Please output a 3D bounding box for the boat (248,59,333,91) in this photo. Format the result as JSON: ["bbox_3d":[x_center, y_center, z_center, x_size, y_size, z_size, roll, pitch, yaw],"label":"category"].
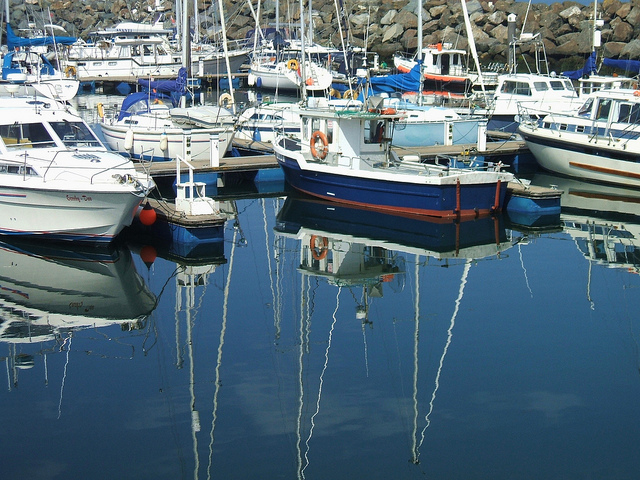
[{"bbox_3d":[-1.351,-7.920,40.969,2.417,1.670,7.168,-1,13,-19],"label":"boat"}]

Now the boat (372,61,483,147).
[{"bbox_3d":[3.262,-3.984,27.386,2.141,1.975,2.224,-18,13,-43],"label":"boat"}]

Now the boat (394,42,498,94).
[{"bbox_3d":[4.994,-7.301,35.325,5.106,1.759,1.449,16,20,37],"label":"boat"}]

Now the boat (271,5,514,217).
[{"bbox_3d":[1.545,-2.314,21.707,6.321,2.913,2.726,13,22,42],"label":"boat"}]

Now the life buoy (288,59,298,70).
[{"bbox_3d":[-1.185,-7.948,38.069,0.640,0.605,0.189,2,10,8],"label":"life buoy"}]

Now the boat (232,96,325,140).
[{"bbox_3d":[-1.569,-3.911,27.483,3.176,1.233,1.719,-4,27,-29],"label":"boat"}]

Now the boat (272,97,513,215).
[{"bbox_3d":[1.083,-2.227,22.418,2.631,2.787,7.415,-13,24,-43],"label":"boat"}]

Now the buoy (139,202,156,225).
[{"bbox_3d":[-3.885,-0.631,19.219,0.386,0.507,0.390,20,26,39],"label":"buoy"}]

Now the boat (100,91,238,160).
[{"bbox_3d":[-4.739,-3.271,25.266,4.878,1.681,1.920,12,16,36],"label":"boat"}]

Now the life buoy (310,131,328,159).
[{"bbox_3d":[-0.028,-2.494,21.909,0.168,0.620,0.629,-3,46,-36],"label":"life buoy"}]

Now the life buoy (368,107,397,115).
[{"bbox_3d":[1.615,-3.245,21.199,0.717,0.116,0.538,-8,17,-22],"label":"life buoy"}]
